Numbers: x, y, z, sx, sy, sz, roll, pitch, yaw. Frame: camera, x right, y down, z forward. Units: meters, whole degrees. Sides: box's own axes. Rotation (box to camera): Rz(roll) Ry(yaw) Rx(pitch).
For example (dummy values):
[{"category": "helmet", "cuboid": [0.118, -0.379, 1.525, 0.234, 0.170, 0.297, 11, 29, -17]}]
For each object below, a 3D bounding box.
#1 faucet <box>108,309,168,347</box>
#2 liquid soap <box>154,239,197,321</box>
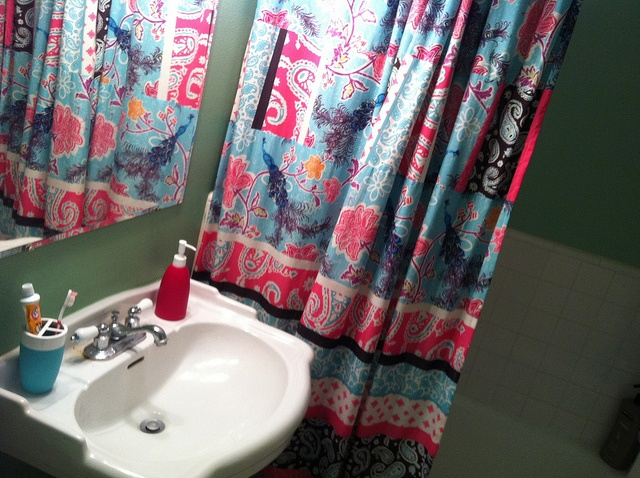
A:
[{"category": "faucet", "cuboid": [-0.497, 0.242, 1.310, 0.127, 0.058, 0.096, 11, 18, 16]}, {"category": "liquid soap", "cuboid": [-0.456, 0.133, 1.513, 0.103, 0.289, 0.113, 6, 24, -12]}]
